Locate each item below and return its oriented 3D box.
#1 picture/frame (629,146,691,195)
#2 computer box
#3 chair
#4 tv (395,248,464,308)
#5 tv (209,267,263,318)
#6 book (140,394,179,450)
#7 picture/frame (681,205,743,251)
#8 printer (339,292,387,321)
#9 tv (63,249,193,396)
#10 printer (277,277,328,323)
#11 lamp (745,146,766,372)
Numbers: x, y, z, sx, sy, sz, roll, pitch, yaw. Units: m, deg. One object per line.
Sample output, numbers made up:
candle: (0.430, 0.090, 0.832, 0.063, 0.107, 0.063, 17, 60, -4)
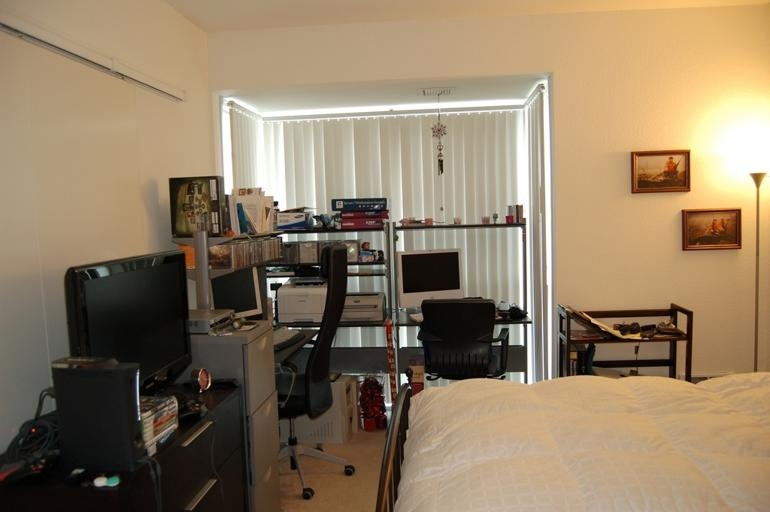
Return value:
picture/frame: (2.270, -0.718, 5.164, 0.388, 0.287, 0.033, -1, 2, 4)
computer box: (-1.433, 0.801, 3.241, 0.456, 0.549, 0.276, 2, 9, 5)
chair: (-0.530, 0.808, 4.725, 0.557, 1.799, 0.911, -3, 3, -9)
tv: (0.393, 0.205, 5.594, 0.522, 0.424, 0.053, -2, 2, -6)
tv: (-1.092, 0.272, 4.626, 0.113, 0.315, 0.486, -3, 1, 35)
book: (-1.177, 0.865, 3.271, 0.056, 0.227, 0.228, 5, 26, 30)
picture/frame: (2.693, -0.249, 5.180, 0.370, 0.277, 0.025, -2, 4, 0)
printer: (-0.176, 0.460, 5.489, 0.342, 0.224, 0.240, 0, 8, 5)
tv: (-1.429, 0.432, 3.549, 0.242, 0.800, 0.934, -3, 4, 16)
printer: (-0.634, 0.454, 5.691, 0.634, 0.294, 0.624, 0, -4, -7)
lamp: (3.067, 0.123, 5.142, 0.128, 1.665, 0.283, -1, 3, 31)
